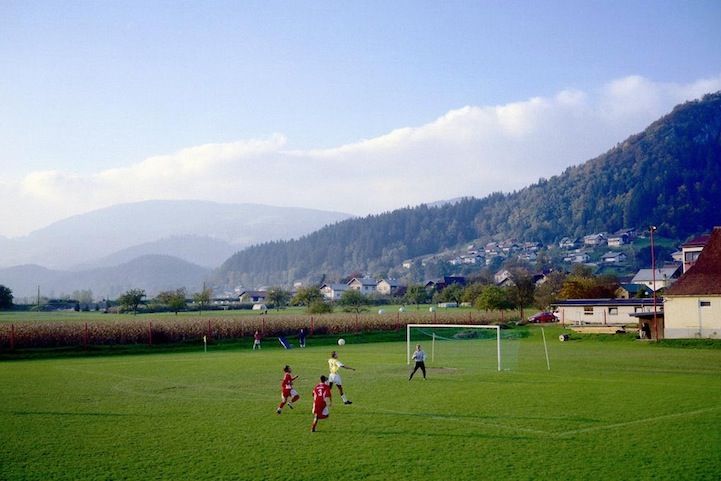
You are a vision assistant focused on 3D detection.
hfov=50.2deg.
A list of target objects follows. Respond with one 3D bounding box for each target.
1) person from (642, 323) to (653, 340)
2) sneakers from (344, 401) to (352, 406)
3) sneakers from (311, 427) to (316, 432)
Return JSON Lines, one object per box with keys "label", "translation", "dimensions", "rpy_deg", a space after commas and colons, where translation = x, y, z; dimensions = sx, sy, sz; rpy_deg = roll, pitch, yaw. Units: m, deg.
{"label": "person", "translation": [34.328, 10.689, 92.265], "dimensions": [1.013, 1.989, 1.106], "rpy_deg": [-2, -6, 13]}
{"label": "sneakers", "translation": [-0.865, 11.193, 53.062], "dimensions": [0.513, 0.214, 0.174], "rpy_deg": [-11, -5, 25]}
{"label": "sneakers", "translation": [-2.988, 11.920, 48.519], "dimensions": [0.253, 0.462, 0.284], "rpy_deg": [-7, -12, 39]}
